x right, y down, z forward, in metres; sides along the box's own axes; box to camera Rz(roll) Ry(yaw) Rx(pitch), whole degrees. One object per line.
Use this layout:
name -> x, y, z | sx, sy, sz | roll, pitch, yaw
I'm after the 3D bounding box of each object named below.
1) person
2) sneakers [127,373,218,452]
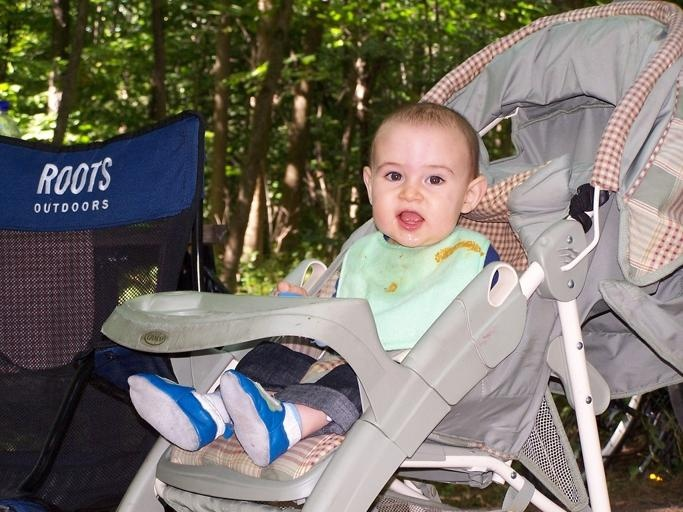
person -> 0.033, 0.024, 2.456 | 0.697, 1.159, 1.382 | 8, 8, 38
sneakers -> -0.511, 0.467, 2.227 | 0.310, 0.174, 0.126 | 41, 21, -17
